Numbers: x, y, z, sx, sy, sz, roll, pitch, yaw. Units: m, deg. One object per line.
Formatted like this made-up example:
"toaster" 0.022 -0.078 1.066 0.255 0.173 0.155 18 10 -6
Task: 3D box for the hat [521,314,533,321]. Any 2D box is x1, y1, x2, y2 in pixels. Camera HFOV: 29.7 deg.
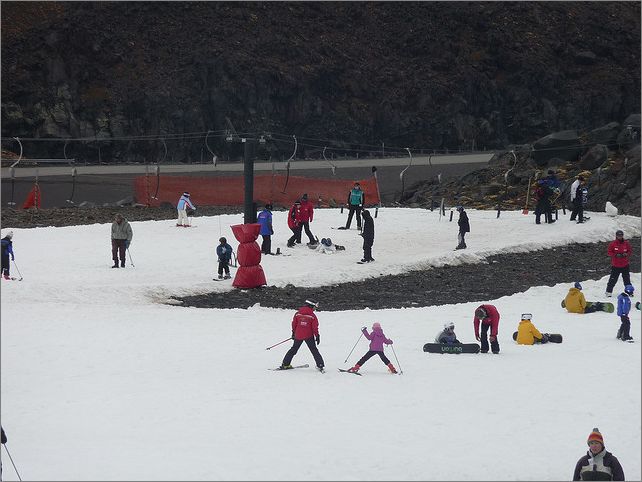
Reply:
"hat" 11.126 4.108 65.369 0.343 0.425 0.419 -1 3 11

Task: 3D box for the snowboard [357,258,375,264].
"snowboard" 2.726 1.227 73.733 0.989 0.425 0.336 1 2 -4

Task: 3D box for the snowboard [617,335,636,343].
"snowboard" 16.384 5.274 65.086 0.776 0.339 0.267 10 -5 26

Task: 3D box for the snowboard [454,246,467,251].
"snowboard" 8.664 0.454 75.346 0.768 0.334 0.261 0 -3 -1

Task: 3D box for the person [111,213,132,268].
"person" -11.963 -0.006 71.853 1.180 3.226 0.902 -4 6 -10

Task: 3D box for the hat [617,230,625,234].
"hat" 16.928 -0.501 68.337 0.265 0.285 0.368 2 -22 3

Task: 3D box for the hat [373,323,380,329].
"hat" 2.915 4.431 63.526 0.387 0.310 0.357 -3 6 -10

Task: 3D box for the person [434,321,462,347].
"person" 6.736 5.115 65.211 1.287 1.748 1.079 -5 12 -42

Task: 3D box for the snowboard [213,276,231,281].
"snowboard" -5.860 2.231 71.330 0.985 0.426 0.325 2 -5 -15

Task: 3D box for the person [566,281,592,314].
"person" 14.215 3.265 67.548 1.235 1.578 0.506 -1 6 12

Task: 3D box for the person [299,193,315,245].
"person" -0.834 -1.362 75.772 0.929 3.173 1.439 -2 6 6

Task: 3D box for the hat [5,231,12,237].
"hat" -18.140 -0.338 70.144 0.255 0.340 0.354 8 -34 -6
